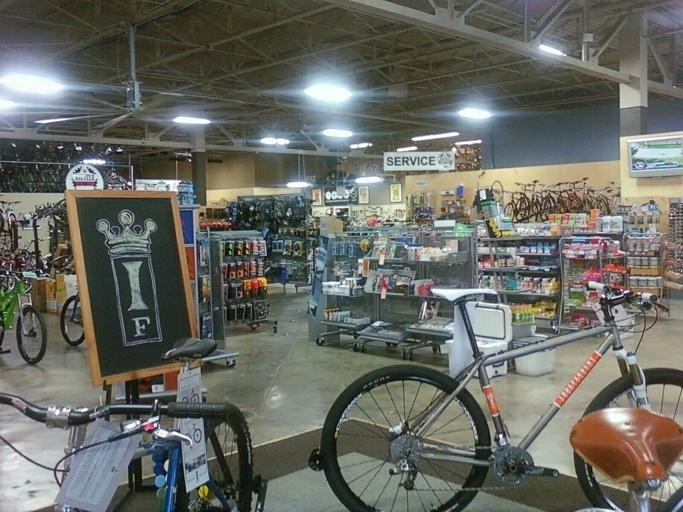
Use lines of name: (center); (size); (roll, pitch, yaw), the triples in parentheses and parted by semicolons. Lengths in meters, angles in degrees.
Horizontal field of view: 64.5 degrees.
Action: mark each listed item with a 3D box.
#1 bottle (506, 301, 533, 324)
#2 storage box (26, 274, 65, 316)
bottle: (2.303, 0.739, 6.869); (0.387, 0.266, 0.388); (-1, 1, 0)
storage box: (-5.594, 0.753, 10.273); (0.555, 0.631, 0.964); (-2, 4, -43)
